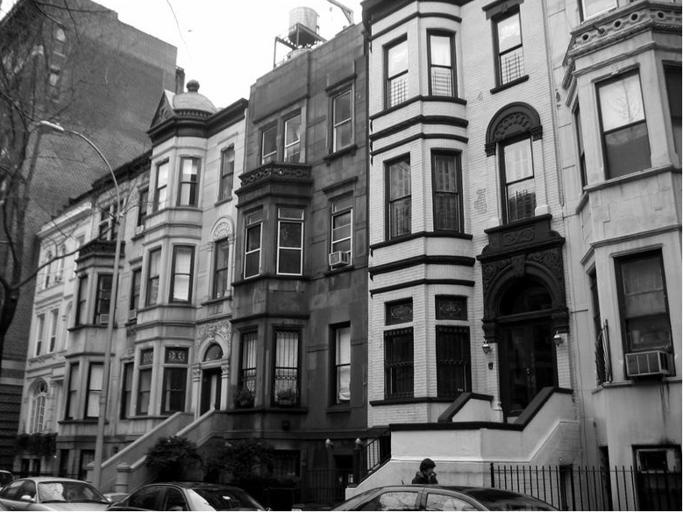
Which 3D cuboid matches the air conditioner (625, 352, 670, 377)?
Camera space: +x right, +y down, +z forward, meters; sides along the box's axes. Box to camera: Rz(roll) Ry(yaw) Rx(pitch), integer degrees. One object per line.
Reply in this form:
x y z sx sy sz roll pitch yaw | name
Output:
8.211 2.835 22.176 1.107 0.653 0.415 -11 -23 24 | air conditioner
